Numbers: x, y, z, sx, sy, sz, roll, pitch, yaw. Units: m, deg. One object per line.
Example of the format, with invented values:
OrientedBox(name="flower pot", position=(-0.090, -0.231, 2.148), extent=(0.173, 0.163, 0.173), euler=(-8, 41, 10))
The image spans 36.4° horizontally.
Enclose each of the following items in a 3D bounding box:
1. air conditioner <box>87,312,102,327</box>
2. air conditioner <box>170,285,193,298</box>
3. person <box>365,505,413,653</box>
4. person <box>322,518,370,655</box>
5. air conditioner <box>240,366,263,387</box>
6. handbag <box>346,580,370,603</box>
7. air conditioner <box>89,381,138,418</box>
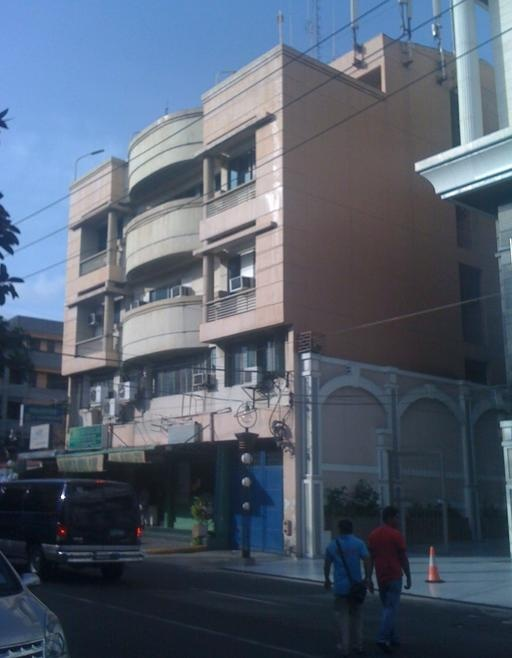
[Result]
OrientedBox(name="air conditioner", position=(-7.300, -0.347, 35.379), extent=(0.470, 0.634, 0.878), euler=(6, -21, -20))
OrientedBox(name="air conditioner", position=(-2.703, -1.351, 28.896), extent=(0.511, 0.392, 0.734), euler=(6, -9, -41))
OrientedBox(name="person", position=(1.570, 2.960, 9.301), extent=(0.480, 1.603, 1.603), euler=(-3, -15, 9))
OrientedBox(name="person", position=(1.018, 2.933, 8.869), extent=(0.485, 1.467, 1.121), euler=(-2, -14, 4))
OrientedBox(name="air conditioner", position=(-0.164, 1.511, 24.212), extent=(0.376, 0.788, 1.414), euler=(4, -16, -18))
OrientedBox(name="handbag", position=(1.080, 2.801, 8.418), extent=(0.239, 0.349, 0.190), euler=(1, 3, 16))
OrientedBox(name="air conditioner", position=(-5.781, 2.957, 31.942), extent=(0.955, 1.821, 4.049), euler=(6, -17, -27))
